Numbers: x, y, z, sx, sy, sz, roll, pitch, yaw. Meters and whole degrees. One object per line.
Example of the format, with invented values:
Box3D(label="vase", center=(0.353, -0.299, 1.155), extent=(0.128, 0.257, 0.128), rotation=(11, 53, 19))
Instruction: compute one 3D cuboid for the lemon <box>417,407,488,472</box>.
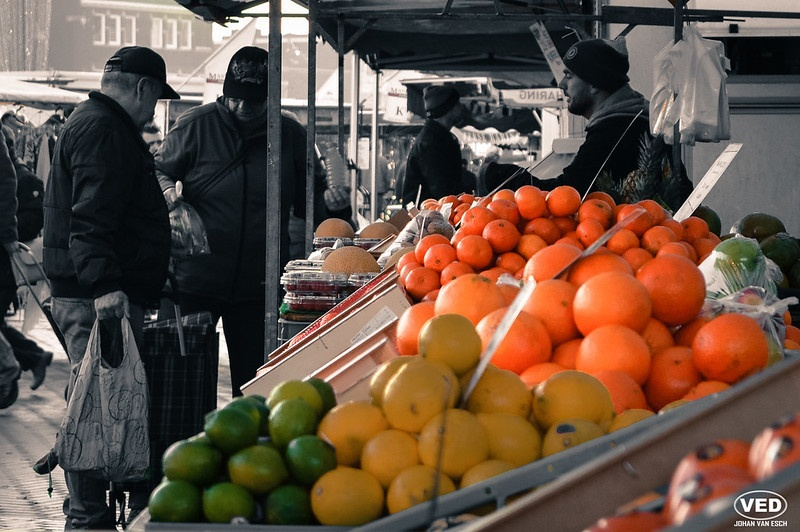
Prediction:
Box3D(label="lemon", center=(0.317, 1.040, 6.045), extent=(0.294, 0.411, 0.344), rotation=(-12, -32, 14))

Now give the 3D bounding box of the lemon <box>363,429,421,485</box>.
Box3D(label="lemon", center=(-0.054, 1.085, 5.921), extent=(0.262, 0.361, 0.284), rotation=(1, -16, -2))

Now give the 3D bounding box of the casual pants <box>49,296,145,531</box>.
Box3D(label="casual pants", center=(-2.402, 1.155, 8.337), extent=(0.684, 1.819, 0.541), rotation=(-1, 3, -21))

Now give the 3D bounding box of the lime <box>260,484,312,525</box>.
Box3D(label="lime", center=(-0.629, 1.352, 5.861), extent=(0.208, 0.237, 0.216), rotation=(0, 12, 0))

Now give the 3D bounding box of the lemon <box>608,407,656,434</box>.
Box3D(label="lemon", center=(1.314, 0.876, 5.969), extent=(0.160, 0.111, 0.160), rotation=(-21, 23, 34))

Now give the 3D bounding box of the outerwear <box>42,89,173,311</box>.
Box3D(label="outerwear", center=(-2.424, -0.520, 8.721), extent=(0.938, 1.847, 1.901), rotation=(1, 2, -15))

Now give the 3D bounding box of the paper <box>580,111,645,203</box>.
Box3D(label="paper", center=(1.750, -0.888, 8.594), extent=(0.182, 0.964, 0.050), rotation=(37, 16, 24))

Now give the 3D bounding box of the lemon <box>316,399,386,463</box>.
Box3D(label="lemon", center=(-0.280, 0.935, 5.986), extent=(0.296, 0.344, 0.392), rotation=(-7, 32, -6))

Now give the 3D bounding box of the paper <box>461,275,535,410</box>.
Box3D(label="paper", center=(0.576, 0.492, 6.204), extent=(0.119, 0.852, 0.042), rotation=(29, -4, -15))

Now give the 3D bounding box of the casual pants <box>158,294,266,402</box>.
Box3D(label="casual pants", center=(-1.525, 0.635, 9.227), extent=(0.873, 1.037, 0.580), rotation=(0, -3, -5))

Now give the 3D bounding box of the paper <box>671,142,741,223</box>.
Box3D(label="paper", center=(2.984, -0.820, 10.232), extent=(0.080, 1.175, 0.264), rotation=(14, 23, -42))

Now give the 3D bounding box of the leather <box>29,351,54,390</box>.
Box3D(label="leather", center=(-3.793, 1.119, 11.033), extent=(0.155, 0.426, 0.131), rotation=(16, 2, -9))

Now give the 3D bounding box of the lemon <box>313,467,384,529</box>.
Box3D(label="lemon", center=(-0.297, 1.307, 5.853), extent=(0.324, 0.296, 0.270), rotation=(2, -25, -6))

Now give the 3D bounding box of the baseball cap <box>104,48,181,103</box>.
Box3D(label="baseball cap", center=(-2.088, -1.551, 8.525), extent=(0.511, 0.305, 0.388), rotation=(-2, 14, -35))

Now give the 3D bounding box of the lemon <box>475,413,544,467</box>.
Box3D(label="lemon", center=(0.623, 0.984, 5.959), extent=(0.345, 0.224, 0.237), rotation=(15, 49, 14))

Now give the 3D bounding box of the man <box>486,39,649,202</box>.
Box3D(label="man", center=(1.507, -1.300, 9.213), extent=(1.491, 1.477, 1.187), rotation=(0, 8, 5))
